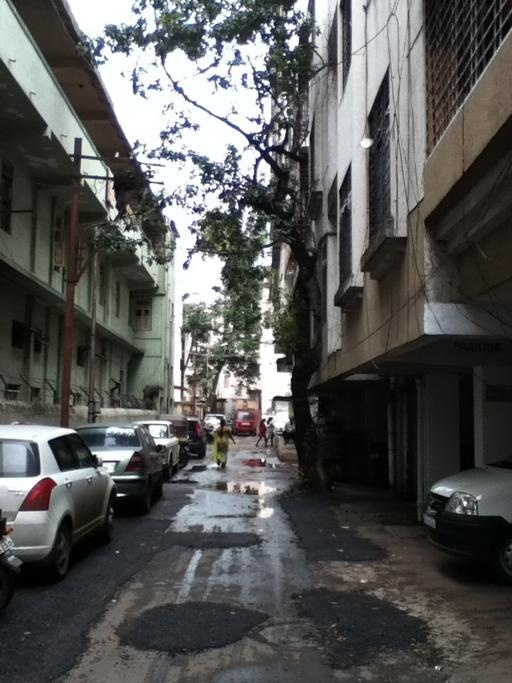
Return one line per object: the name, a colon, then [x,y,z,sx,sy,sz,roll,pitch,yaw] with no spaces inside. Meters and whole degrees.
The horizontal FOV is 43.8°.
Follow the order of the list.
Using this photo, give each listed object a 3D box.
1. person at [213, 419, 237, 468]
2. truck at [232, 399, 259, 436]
person: [-1.056,3.242,20.993,0.561,1.735,0.538,8,25,8]
truck: [-0.770,6.898,55.418,1.450,2.083,3.212,1,-4,2]
